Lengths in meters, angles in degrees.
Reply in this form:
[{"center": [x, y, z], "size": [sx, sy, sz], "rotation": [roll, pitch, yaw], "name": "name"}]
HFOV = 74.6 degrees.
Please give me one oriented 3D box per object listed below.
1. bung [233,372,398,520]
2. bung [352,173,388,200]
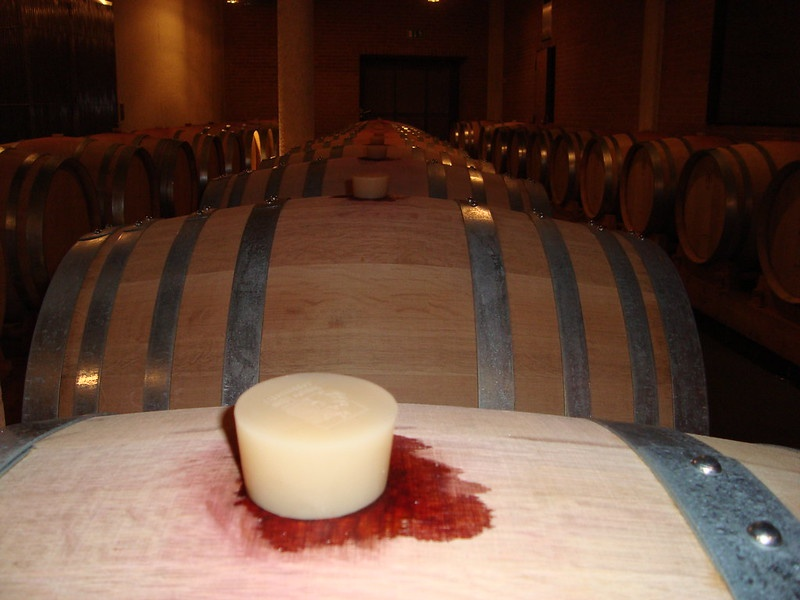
[{"center": [-0.099, 0.158, 0.595], "size": [0.161, 0.080, 0.159], "rotation": [8, 20, 15], "name": "bung"}, {"center": [-0.123, -0.414, 1.967], "size": [0.133, 0.079, 0.134], "rotation": [6, 10, 32], "name": "bung"}]
